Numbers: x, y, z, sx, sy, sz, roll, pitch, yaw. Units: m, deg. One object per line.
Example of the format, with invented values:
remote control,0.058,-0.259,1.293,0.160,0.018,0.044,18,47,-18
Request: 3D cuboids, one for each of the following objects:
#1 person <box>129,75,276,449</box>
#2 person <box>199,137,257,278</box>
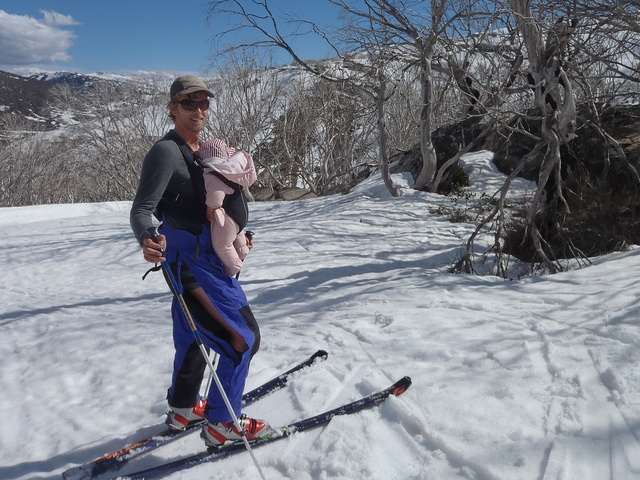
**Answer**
person,-1.026,0.209,3.991,1.065,3.200,0.740,5,13,11
person,-0.862,-0.288,4.156,0.551,1.230,0.531,2,19,-1
